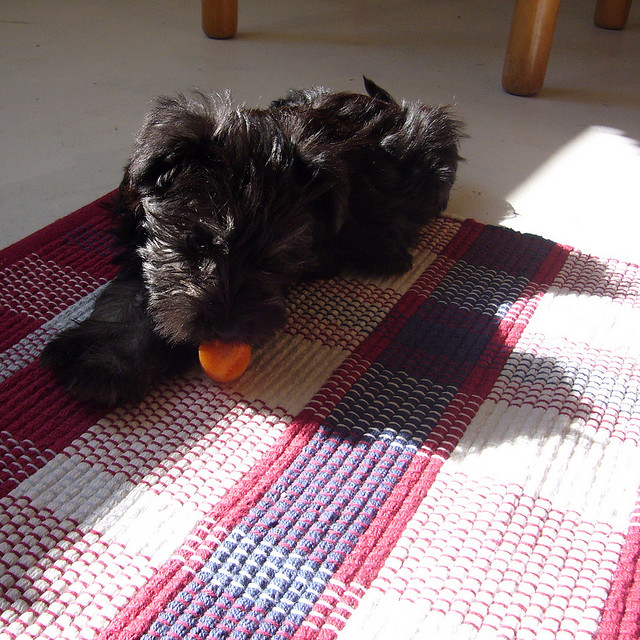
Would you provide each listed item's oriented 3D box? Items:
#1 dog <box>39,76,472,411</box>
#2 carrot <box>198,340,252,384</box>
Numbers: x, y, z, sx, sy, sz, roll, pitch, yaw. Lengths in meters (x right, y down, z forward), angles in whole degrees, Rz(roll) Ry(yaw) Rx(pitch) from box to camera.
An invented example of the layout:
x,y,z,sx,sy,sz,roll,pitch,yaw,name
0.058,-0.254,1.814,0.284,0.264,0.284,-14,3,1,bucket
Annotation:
x,y,z,sx,sy,sz,roll,pitch,yaw,name
-0.054,-0.140,1.019,0.423,0.215,0.590,23,48,16,dog
-0.119,0.046,0.871,0.088,0.018,0.077,-22,9,-1,carrot
